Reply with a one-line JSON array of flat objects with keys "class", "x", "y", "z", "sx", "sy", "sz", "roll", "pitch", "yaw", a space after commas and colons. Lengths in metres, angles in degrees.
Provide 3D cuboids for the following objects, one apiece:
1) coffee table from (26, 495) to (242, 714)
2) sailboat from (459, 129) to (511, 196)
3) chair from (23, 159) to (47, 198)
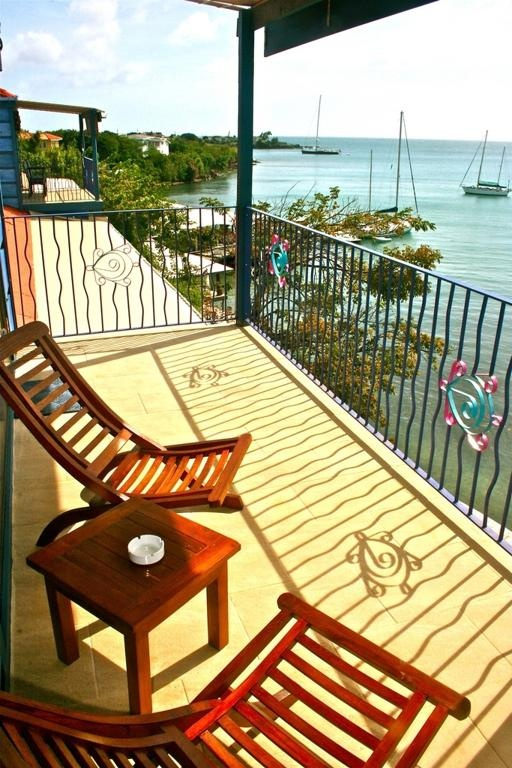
[{"class": "coffee table", "x": -0.328, "y": 0.654, "z": 1.760, "sx": 0.619, "sy": 0.543, "sz": 0.552, "roll": 17, "pitch": 28, "yaw": 31}, {"class": "sailboat", "x": 31.624, "y": -29.853, "z": 73.626, "sx": 5.178, "sy": 8.557, "sz": 32.985, "roll": 9, "pitch": 20, "yaw": 18}, {"class": "chair", "x": -7.084, "y": -6.586, "z": 17.138, "sx": 0.651, "sy": 1.095, "sz": 2.468, "roll": -5, "pitch": 20, "yaw": -22}]
